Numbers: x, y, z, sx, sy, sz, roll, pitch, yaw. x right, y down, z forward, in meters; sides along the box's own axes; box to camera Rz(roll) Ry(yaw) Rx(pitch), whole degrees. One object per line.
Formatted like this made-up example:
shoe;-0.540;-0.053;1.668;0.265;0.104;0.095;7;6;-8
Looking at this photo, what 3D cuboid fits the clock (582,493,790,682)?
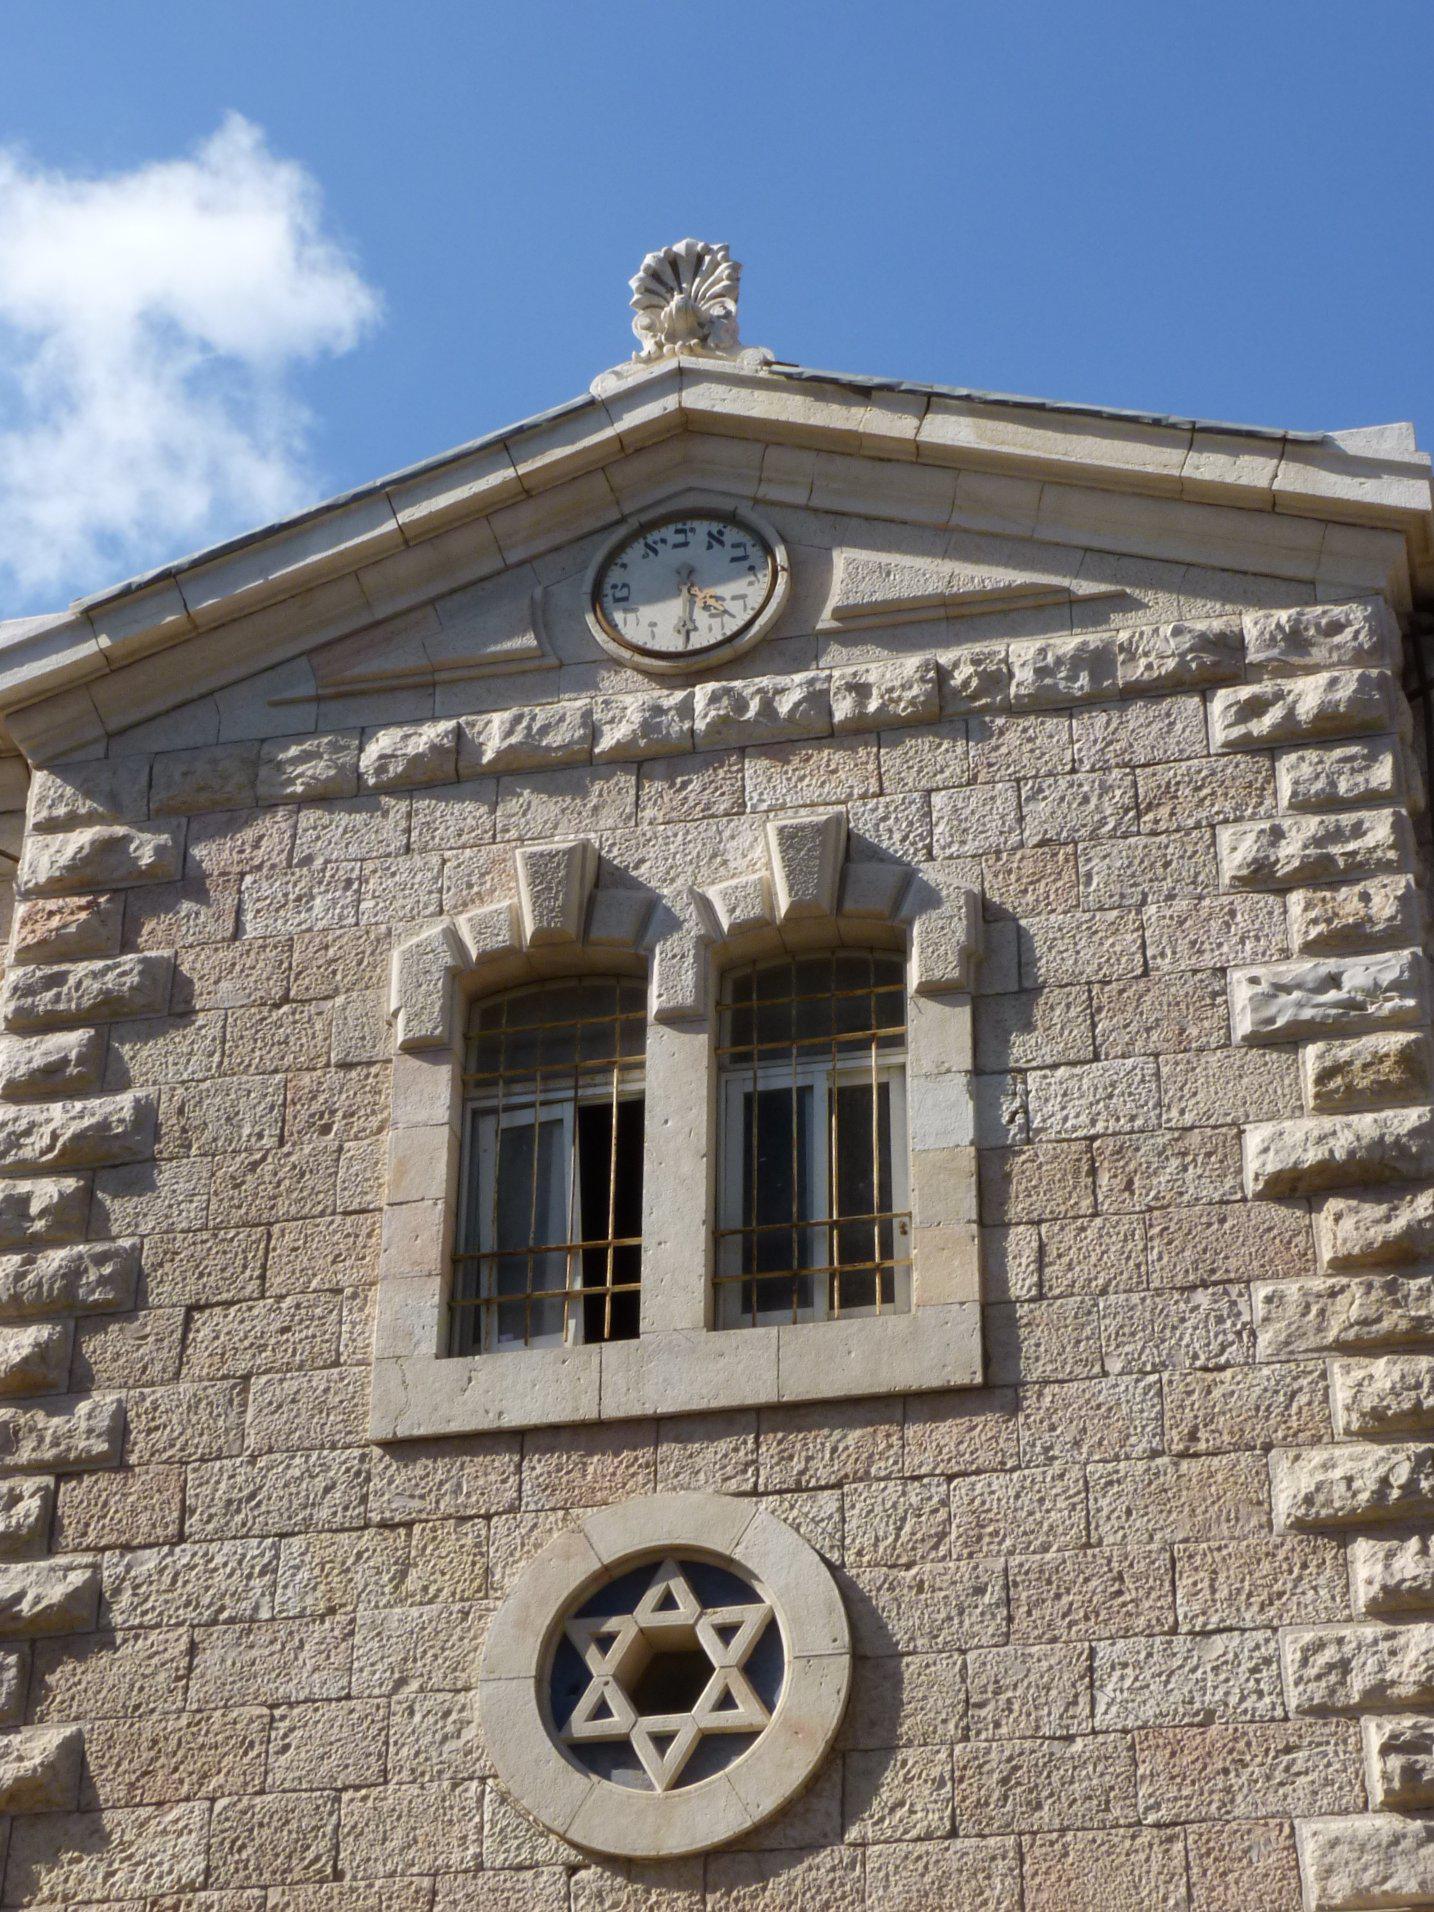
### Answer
clock;-0.114;-1.600;13.823;1.158;1.038;0.092;-1;-36;16
